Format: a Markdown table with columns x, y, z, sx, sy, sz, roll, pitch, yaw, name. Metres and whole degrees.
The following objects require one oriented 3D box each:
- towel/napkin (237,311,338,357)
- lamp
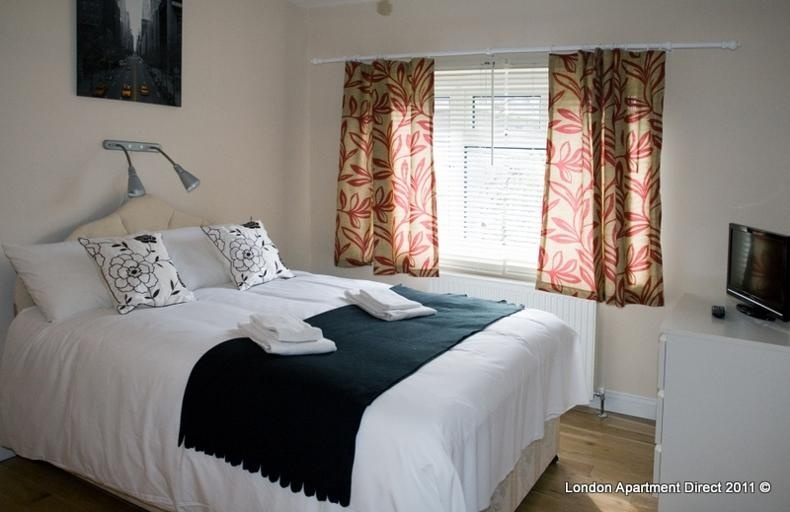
| x | y | z | sx | sy | sz | roll | pitch | yaw | name |
| --- | --- | --- | --- | --- | --- | --- | --- | --- | --- |
| -0.602 | 0.409 | 3.334 | 0.318 | 0.101 | 0.312 | 2 | 11 | -43 | towel/napkin |
| -1.898 | -0.686 | 4.387 | 0.611 | 0.433 | 0.430 | -9 | 16 | -30 | lamp |
